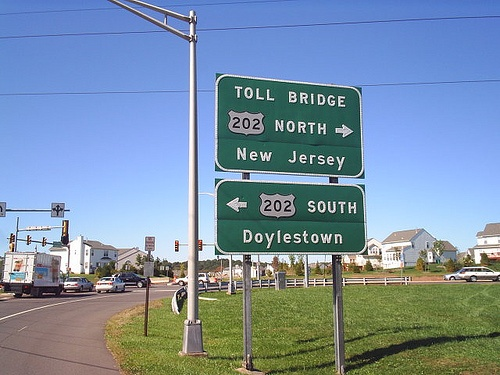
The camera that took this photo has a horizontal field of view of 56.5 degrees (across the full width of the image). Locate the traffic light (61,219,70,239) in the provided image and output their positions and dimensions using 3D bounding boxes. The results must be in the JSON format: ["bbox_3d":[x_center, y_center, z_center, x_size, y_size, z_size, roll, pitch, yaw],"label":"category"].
[{"bbox_3d":[-17.358,3.883,43.397,0.483,1.574,1.239,4,-13,-20],"label":"traffic light"}]

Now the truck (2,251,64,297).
[{"bbox_3d":[-18.393,7.472,39.643,5.249,3.640,3.821,11,-17,-41],"label":"truck"}]

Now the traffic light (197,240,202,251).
[{"bbox_3d":[-4.985,5.748,46.192,0.251,0.844,1.617,2,-13,-12],"label":"traffic light"}]

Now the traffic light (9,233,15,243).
[{"bbox_3d":[-25.016,5.357,48.660,0.380,1.120,2.376,6,-15,-28],"label":"traffic light"}]

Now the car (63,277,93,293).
[{"bbox_3d":[-17.670,10.122,48.379,1.298,1.006,3.017,-1,-6,3],"label":"car"}]

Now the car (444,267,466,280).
[{"bbox_3d":[24.287,10.436,55.521,1.690,0.899,1.211,2,-11,6],"label":"car"}]

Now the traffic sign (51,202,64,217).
[{"bbox_3d":[-16.435,1.895,40.036,0.934,1.235,2.021,10,-17,-40],"label":"traffic sign"}]

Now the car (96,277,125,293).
[{"bbox_3d":[-14.434,10.217,48.058,1.438,1.114,3.294,1,-6,-3],"label":"car"}]
